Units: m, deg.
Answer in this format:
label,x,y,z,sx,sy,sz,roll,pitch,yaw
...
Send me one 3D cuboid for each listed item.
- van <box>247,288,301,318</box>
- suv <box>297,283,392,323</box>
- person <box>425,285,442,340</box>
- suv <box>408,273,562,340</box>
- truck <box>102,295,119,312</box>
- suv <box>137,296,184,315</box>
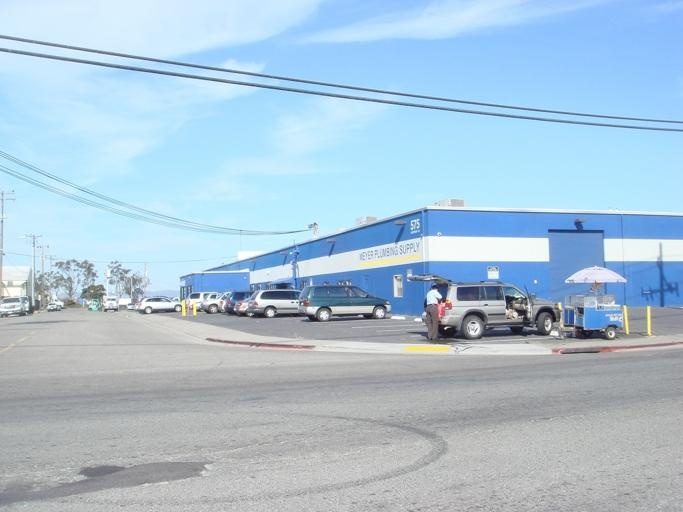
label,x,y,z,sx,sy,sz,roll,pitch,yaw
van,-4.085,2.783,37.920,3.137,1.098,1.584,-3,2,-17
suv,0.050,2.370,32.734,3.958,1.357,2.050,-2,1,-18
person,2.976,1.915,20.708,0.495,1.707,0.653,1,-6,10
suv,5.180,1.578,22.796,4.762,1.740,2.460,-3,3,-24
truck,-27.440,5.565,75.349,1.663,1.363,2.900,0,-6,-19
suv,-15.960,4.281,55.887,3.490,1.540,2.882,4,-6,-23
